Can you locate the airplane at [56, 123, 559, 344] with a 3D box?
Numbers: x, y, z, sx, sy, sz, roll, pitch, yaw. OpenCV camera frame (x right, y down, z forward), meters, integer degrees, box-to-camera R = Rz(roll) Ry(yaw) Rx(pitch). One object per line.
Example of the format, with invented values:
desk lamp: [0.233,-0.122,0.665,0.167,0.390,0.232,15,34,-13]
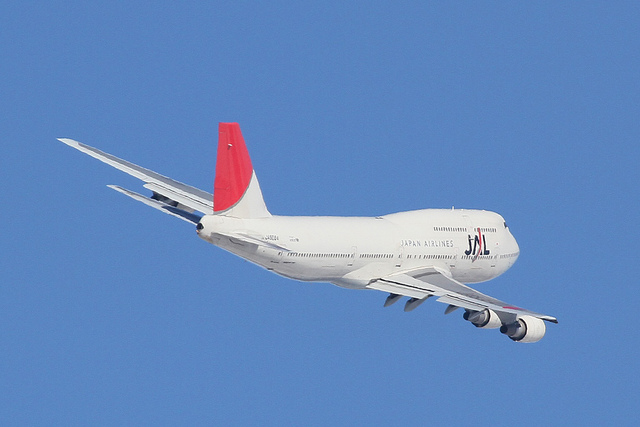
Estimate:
airplane: [2.095,1.589,57.201,12.947,4.749,14.869,-1,15,-44]
